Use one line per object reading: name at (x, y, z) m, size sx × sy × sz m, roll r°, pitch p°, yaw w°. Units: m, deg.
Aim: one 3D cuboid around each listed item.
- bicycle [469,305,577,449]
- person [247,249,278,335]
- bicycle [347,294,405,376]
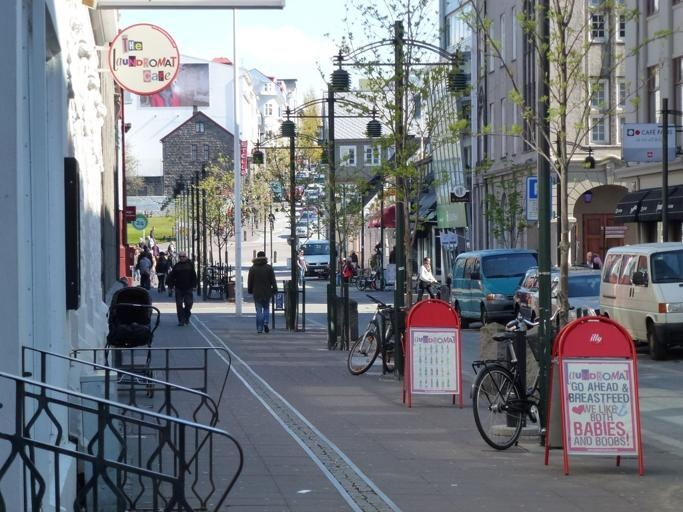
bicycle at (2.025, 1.506, 16.905) m, size 0.833 × 1.312 × 1.472 m, roll -2°, pitch -1°, yaw 8°
person at (-1.784, 0.736, 31.227) m, size 0.582 × 1.920 × 0.523 m, roll 2°, pitch 0°, yaw -20°
bicycle at (0.522, 1.422, 22.674) m, size 0.671 × 0.880 × 1.399 m, roll 36°, pitch -4°, yaw -19°
